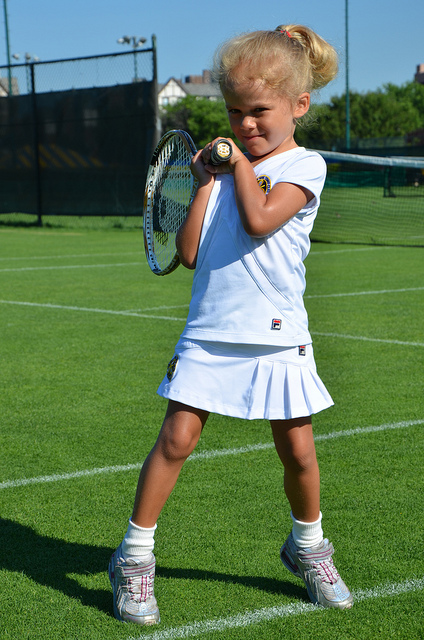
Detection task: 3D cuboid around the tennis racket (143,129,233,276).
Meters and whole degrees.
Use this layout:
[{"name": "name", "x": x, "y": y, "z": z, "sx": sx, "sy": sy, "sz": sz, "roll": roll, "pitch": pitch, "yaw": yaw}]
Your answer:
[{"name": "tennis racket", "x": -0.083, "y": -0.415, "z": 2.544, "sx": 0.095, "sy": 0.550, "sz": 0.354, "roll": 6, "pitch": -2, "yaw": -17}]
